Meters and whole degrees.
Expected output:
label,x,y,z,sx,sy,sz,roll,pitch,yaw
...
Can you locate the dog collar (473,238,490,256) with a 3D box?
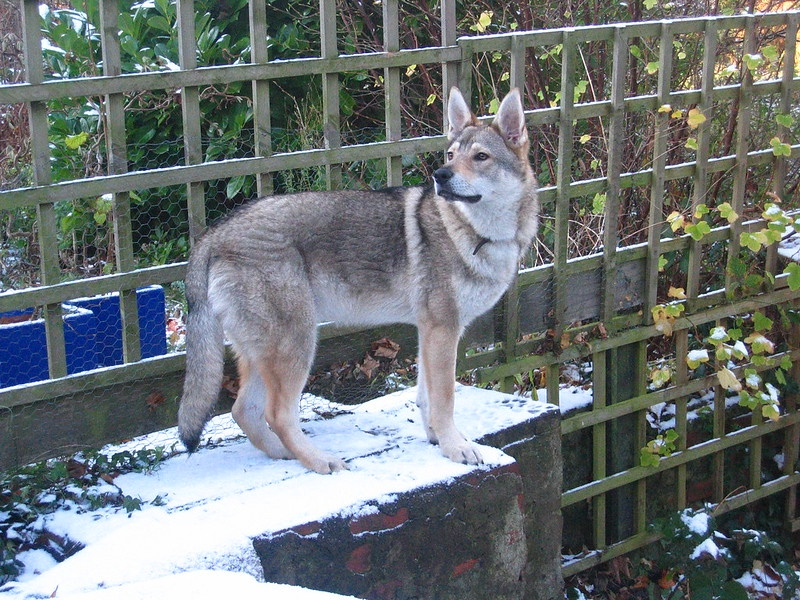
label,x,y,z,sx,sy,sz,roll,pitch,yaw
dog collar,0.474,-0.314,5.167,0.045,0.018,0.087,23,73,50
